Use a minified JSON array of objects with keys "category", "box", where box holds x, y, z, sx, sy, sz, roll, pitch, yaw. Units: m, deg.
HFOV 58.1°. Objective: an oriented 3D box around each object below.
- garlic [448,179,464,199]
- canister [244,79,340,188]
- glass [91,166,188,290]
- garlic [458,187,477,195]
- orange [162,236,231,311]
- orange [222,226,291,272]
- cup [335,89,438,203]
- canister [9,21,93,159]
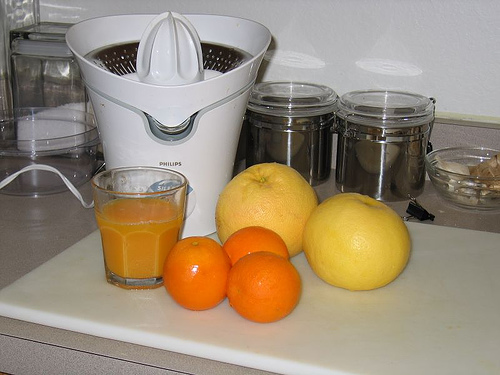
[{"category":"garlic","box":[0.399,0.002,0.881,0.028,0.030,0.030,1,11,20]},{"category":"canister","box":[0.088,-0.121,1.035,0.208,0.222,0.206,3,20,4]},{"category":"glass","box":[-0.157,0.055,0.713,0.144,0.199,0.122,12,26,18]},{"category":"garlic","box":[0.421,0.005,0.875,0.033,0.012,0.007,7,21,13]},{"category":"orange","box":[-0.078,0.112,0.658,0.087,0.094,0.092,4,8,-18]},{"category":"orange","box":[0.005,0.079,0.641,0.064,0.069,0.065,-3,-6,2]},{"category":"cup","box":[0.263,-0.078,1.004,0.219,0.233,0.218,1,21,0]},{"category":"canister","box":[-0.431,-0.204,0.983,0.168,0.267,0.102,13,32,21]}]
